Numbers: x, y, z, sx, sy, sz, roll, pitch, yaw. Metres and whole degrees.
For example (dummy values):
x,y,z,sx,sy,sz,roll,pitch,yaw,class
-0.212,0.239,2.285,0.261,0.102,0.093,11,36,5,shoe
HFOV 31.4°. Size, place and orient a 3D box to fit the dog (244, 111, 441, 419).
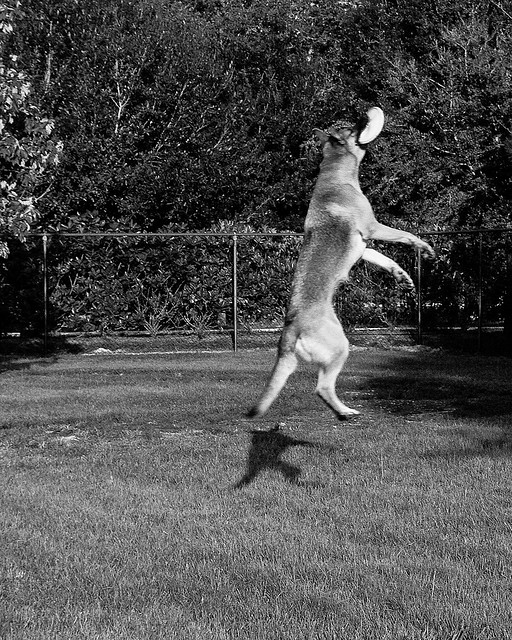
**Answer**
x,y,z,sx,sy,sz,roll,pitch,yaw,class
0.350,-0.259,4.466,0.846,1.549,0.444,1,7,-20,dog
